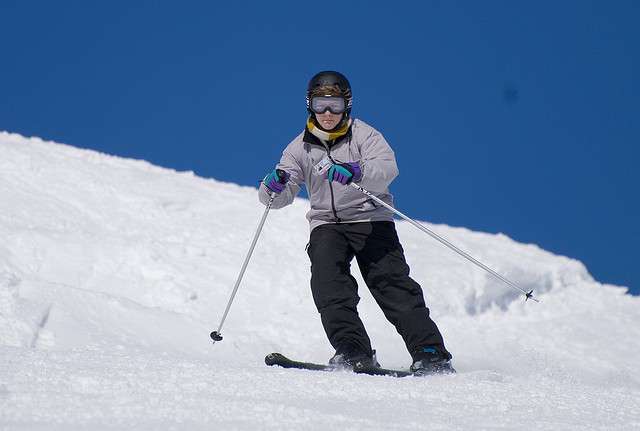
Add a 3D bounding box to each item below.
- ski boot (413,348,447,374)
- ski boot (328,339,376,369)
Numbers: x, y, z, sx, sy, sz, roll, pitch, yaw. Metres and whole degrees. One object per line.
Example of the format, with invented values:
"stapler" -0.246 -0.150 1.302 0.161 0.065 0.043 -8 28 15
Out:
"ski boot" 1.192 1.543 11.968 0.231 0.330 0.147 1 14 7
"ski boot" 0.354 1.482 11.948 0.477 0.284 0.249 6 6 2
